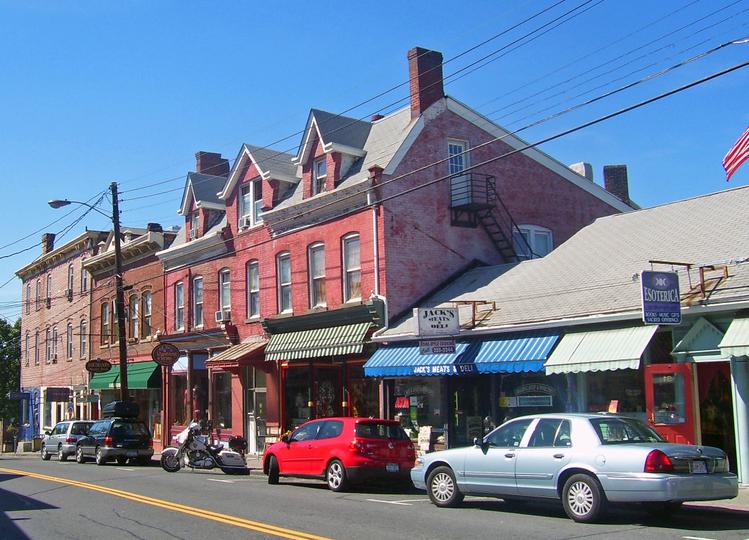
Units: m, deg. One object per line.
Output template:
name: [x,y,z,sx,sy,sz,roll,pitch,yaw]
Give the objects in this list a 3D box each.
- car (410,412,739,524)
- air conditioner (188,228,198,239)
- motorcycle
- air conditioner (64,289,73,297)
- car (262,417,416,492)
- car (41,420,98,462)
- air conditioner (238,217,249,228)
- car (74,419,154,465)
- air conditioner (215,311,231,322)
car: [4.449,4.452,21.967,6.153,1.646,2.768,-8,-14,44]
air conditioner: [-8.173,-1.639,43.181,0.540,0.485,0.192,-12,-17,42]
motorcycle: [-5.613,5.912,31.754,2.833,1.716,1.074,-7,-15,25]
air conditioner: [-17.926,1.383,56.253,0.397,0.592,0.678,6,-10,-37]
car: [-1.198,5.213,27.035,4.615,2.010,2.317,-3,-13,9]
car: [-13.182,7.240,41.175,1.546,1.222,3.235,3,-5,-33]
air conditioner: [-5.378,-1.919,39.423,0.413,0.453,0.705,5,-8,-30]
car: [-9.924,6.526,36.420,2.768,1.751,1.587,-13,-18,42]
air conditioner: [-6.380,1.925,40.317,0.462,0.528,0.880,7,-11,-37]
